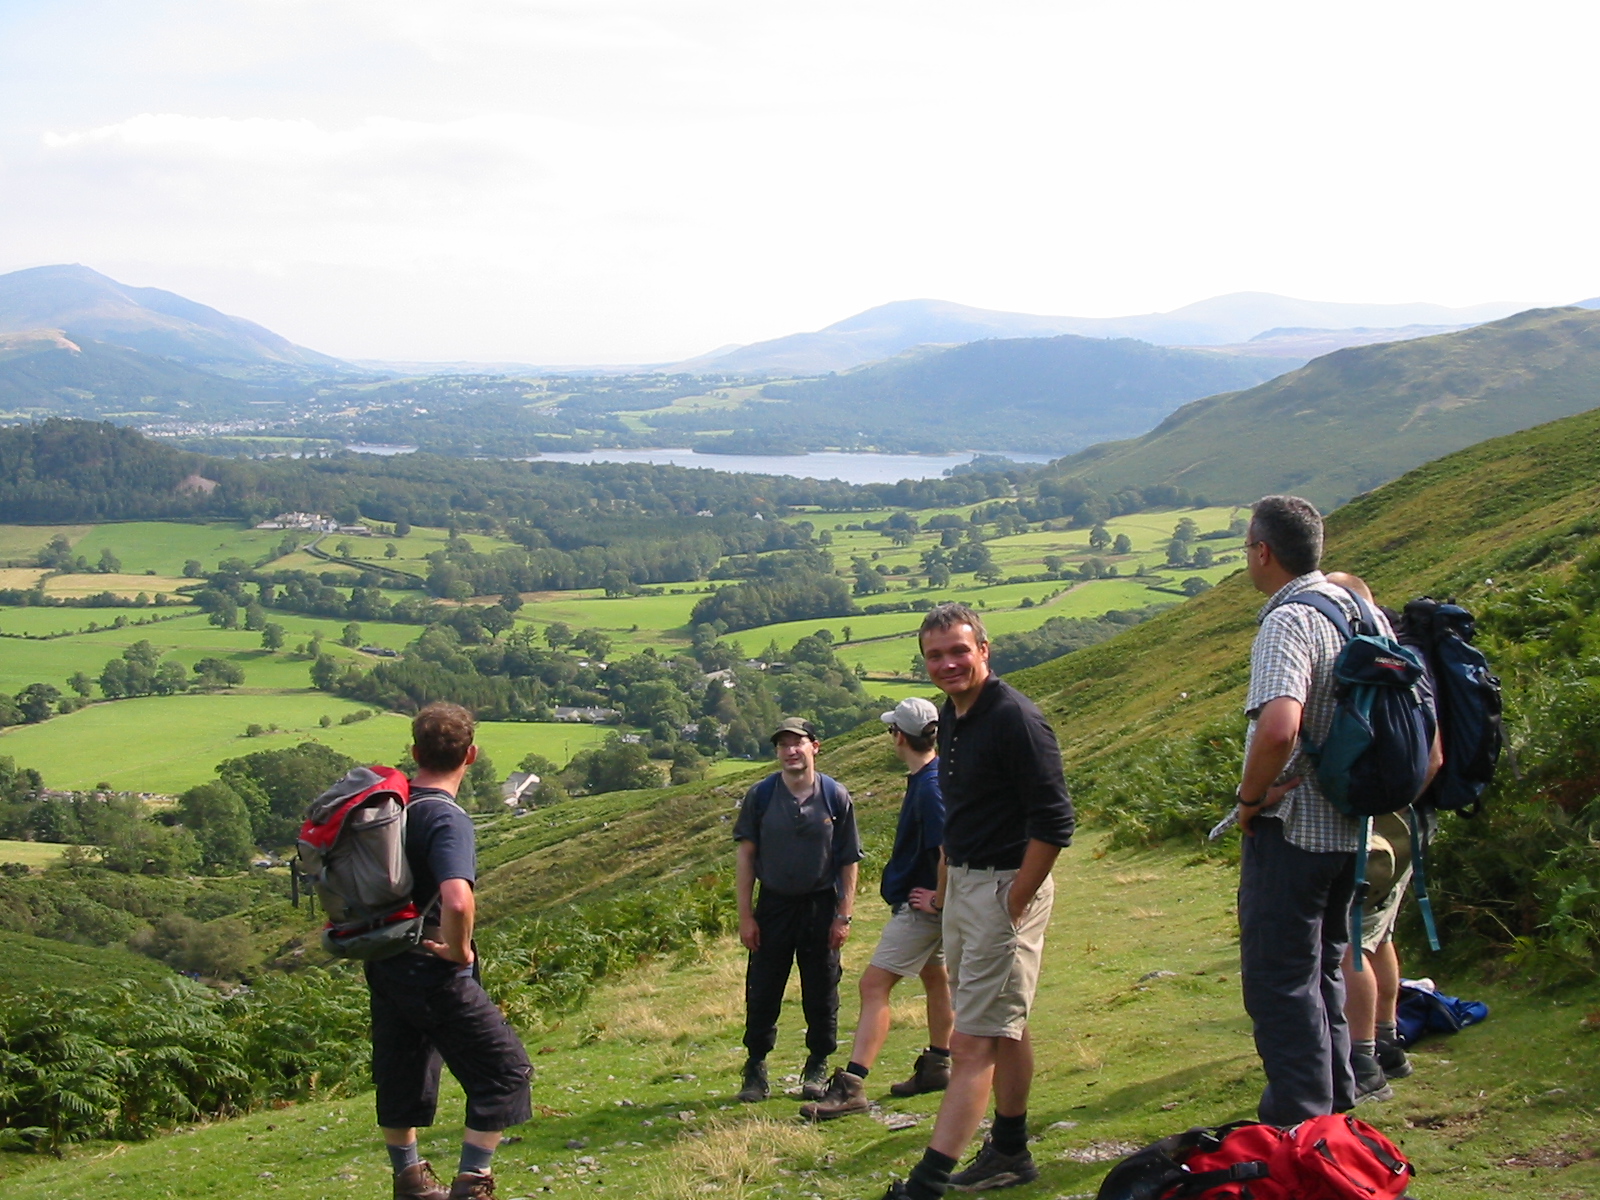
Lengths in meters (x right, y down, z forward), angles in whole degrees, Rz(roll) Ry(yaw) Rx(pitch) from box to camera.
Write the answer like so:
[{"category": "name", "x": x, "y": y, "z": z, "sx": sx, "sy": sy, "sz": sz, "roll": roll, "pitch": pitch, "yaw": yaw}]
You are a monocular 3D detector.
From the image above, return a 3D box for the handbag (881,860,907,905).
[{"category": "handbag", "x": 0.611, "y": 1.877, "z": 8.404, "sx": 0.127, "sy": 0.248, "sz": 0.227, "roll": 0, "pitch": 2, "yaw": 5}]

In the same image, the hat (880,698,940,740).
[{"category": "hat", "x": 0.739, "y": 0.789, "z": 8.532, "sx": 0.278, "sy": 0.161, "sz": 0.374, "roll": -2, "pitch": 3, "yaw": -26}]

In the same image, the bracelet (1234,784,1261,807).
[{"category": "bracelet", "x": 2.262, "y": 0.991, "z": 6.386, "sx": 0.098, "sy": 0.047, "sz": 0.115, "roll": 18, "pitch": 0, "yaw": 5}]
